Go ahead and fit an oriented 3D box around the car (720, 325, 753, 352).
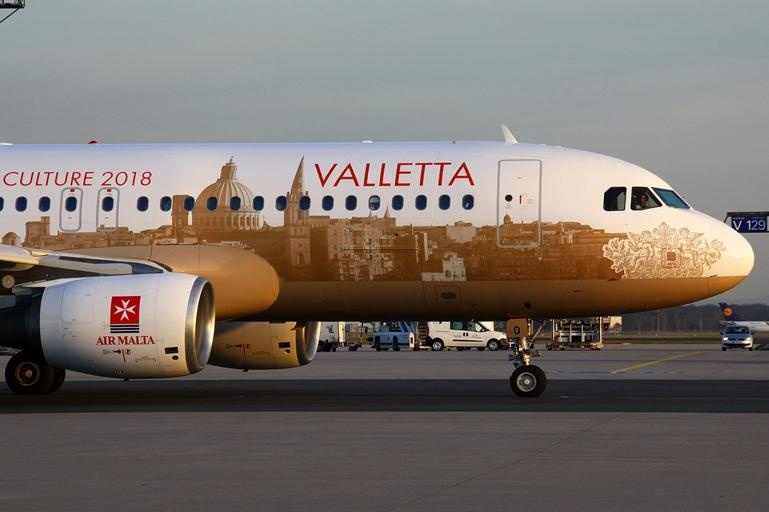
[{"bbox_3d":[18.318,4.190,68.391,1.471,0.902,2.474,-1,-7,8],"label":"car"}]
